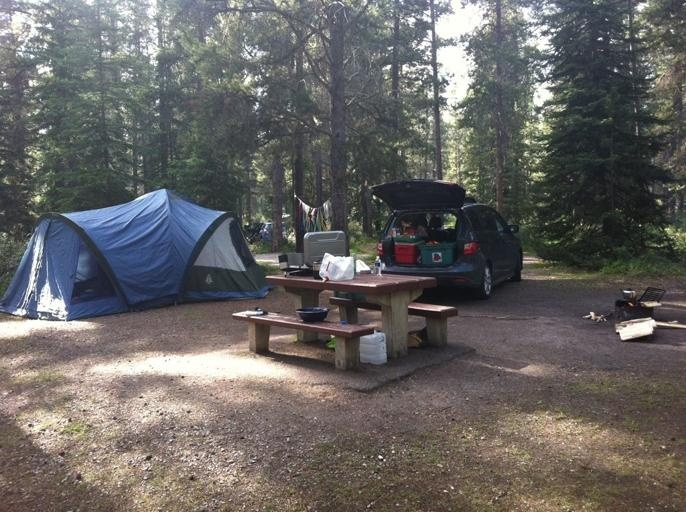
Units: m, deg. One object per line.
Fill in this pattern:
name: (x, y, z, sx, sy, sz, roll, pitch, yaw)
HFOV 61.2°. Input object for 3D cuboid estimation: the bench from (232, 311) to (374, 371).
bench: (-0.564, 1.233, 8.691, 2.052, 0.694, 0.584, 1, 6, 36)

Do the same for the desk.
desk: (-0.108, 0.825, 9.037, 1.857, 0.975, 1.121, 4, 5, 29)

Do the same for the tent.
tent: (-4.781, -0.155, 13.344, 5.218, 2.681, 2.190, -5, 6, -31)

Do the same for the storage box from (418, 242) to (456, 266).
storage box: (1.889, -0.036, 11.826, 0.493, 0.339, 0.505, 1, 3, 19)

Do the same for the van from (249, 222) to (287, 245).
van: (-5.350, -1.518, 36.705, 1.569, 1.325, 2.495, 4, 1, 43)

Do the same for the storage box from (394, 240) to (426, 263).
storage box: (1.286, -0.073, 12.171, 0.371, 0.513, 0.683, -1, 0, 17)

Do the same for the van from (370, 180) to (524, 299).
van: (2.621, -0.599, 13.315, 1.784, 1.732, 3.847, 2, 8, 28)
